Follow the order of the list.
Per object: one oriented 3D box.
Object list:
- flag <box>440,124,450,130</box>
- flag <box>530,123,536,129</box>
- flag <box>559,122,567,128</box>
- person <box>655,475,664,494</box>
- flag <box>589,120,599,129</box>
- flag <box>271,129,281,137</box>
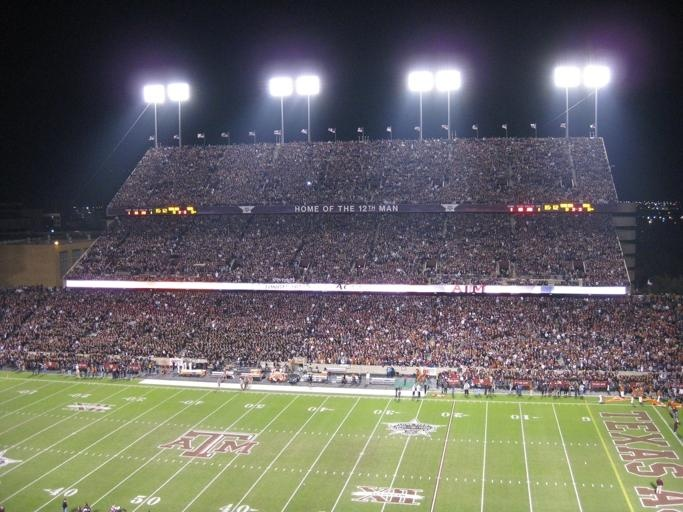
[{"bbox_3d":[8.925,-11.116,69.344,0.652,0.546,0.388,1,6,-5],"label":"flag"},{"bbox_3d":[16.178,-10.974,67.904,0.391,0.372,0.819,2,5,15],"label":"flag"},{"bbox_3d":[18.676,-11.022,67.715,0.613,0.516,0.628,0,5,-7],"label":"flag"},{"bbox_3d":[15.144,10.901,38.318,0.416,0.737,0.886,3,6,22],"label":"person"},{"bbox_3d":[21.003,-10.967,67.275,0.506,0.595,0.323,5,7,37],"label":"flag"},{"bbox_3d":[-5.855,-11.071,72.072,0.605,0.417,0.516,3,5,23],"label":"flag"}]
